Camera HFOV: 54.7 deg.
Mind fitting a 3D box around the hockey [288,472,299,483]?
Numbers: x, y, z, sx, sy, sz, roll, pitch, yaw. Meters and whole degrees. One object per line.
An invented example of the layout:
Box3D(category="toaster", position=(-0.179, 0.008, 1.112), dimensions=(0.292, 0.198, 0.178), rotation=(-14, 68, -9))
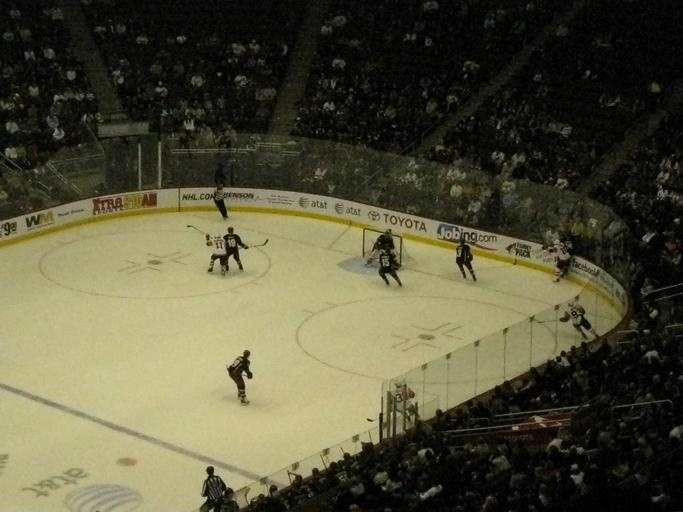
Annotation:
Box3D(category="hockey", position=(-0.913, 4.372, 13.000), dimensions=(0.175, 0.118, 0.251), rotation=(3, 1, -32))
